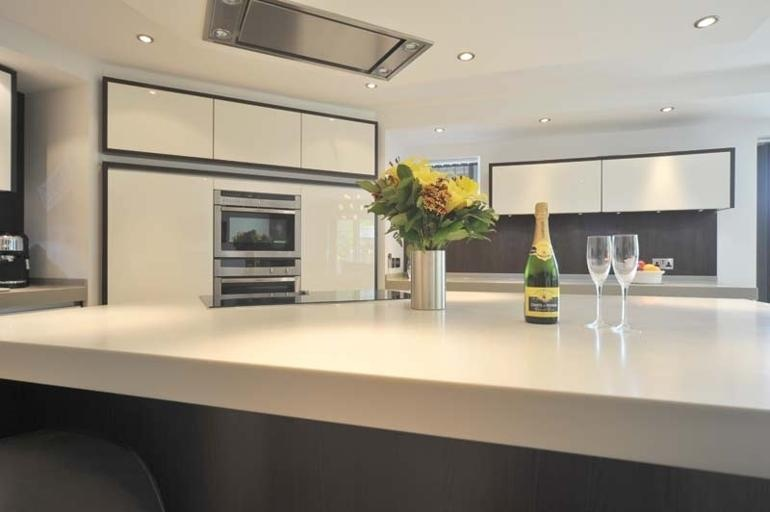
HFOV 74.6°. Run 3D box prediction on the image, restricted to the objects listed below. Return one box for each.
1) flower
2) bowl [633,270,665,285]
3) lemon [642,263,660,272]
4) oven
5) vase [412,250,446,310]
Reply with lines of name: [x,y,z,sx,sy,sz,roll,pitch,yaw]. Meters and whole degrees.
flower: [0.174,-0.173,2.088,0.570,0.331,0.480,5,-7,-31]
bowl: [1.929,0.162,3.715,0.173,0.061,0.178,0,1,0]
lemon: [2.052,0.102,3.900,0.088,0.054,0.086,4,3,40]
oven: [-1.076,-0.176,4.285,0.674,0.995,0.664,-1,28,-18]
vase: [0.183,0.071,2.042,0.130,0.220,0.131,4,20,15]
